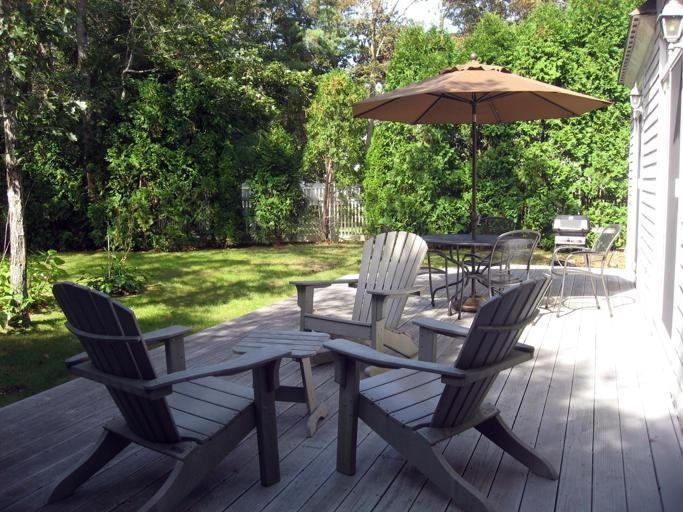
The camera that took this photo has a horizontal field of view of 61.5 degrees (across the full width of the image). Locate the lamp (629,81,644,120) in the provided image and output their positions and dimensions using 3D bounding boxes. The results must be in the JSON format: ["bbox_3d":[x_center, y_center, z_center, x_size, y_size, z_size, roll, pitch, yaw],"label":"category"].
[{"bbox_3d":[4.038,-2.109,7.930,0.144,0.429,0.760,2,8,26],"label":"lamp"}]

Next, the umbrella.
[{"bbox_3d":[1.514,-1.133,7.115,2.631,3.077,2.932,-1,1,1],"label":"umbrella"}]

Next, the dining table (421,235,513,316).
[{"bbox_3d":[1.354,0.052,6.646,0.910,0.801,0.889,-6,11,-36],"label":"dining table"}]

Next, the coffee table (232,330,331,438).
[{"bbox_3d":[-0.390,0.797,4.079,0.630,0.753,0.633,0,7,21],"label":"coffee table"}]

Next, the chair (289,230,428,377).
[{"bbox_3d":[0.244,0.352,5.174,0.910,1.300,1.224,3,4,35],"label":"chair"}]

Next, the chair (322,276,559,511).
[{"bbox_3d":[0.675,0.591,3.893,1.248,1.718,1.252,5,7,44],"label":"chair"}]

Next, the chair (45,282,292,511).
[{"bbox_3d":[-0.992,0.767,3.778,1.195,1.654,1.255,7,10,37],"label":"chair"}]
